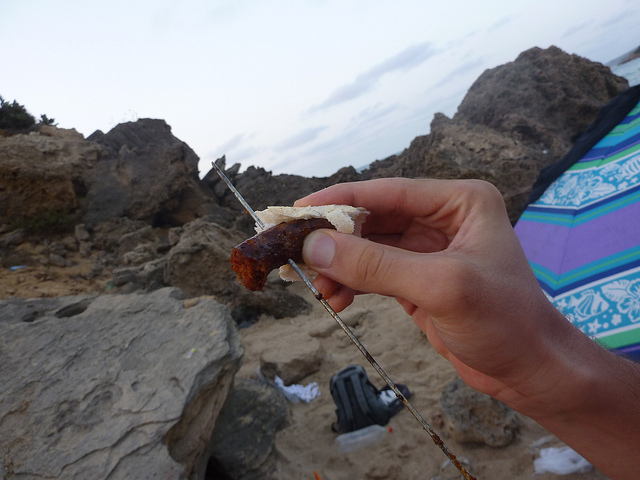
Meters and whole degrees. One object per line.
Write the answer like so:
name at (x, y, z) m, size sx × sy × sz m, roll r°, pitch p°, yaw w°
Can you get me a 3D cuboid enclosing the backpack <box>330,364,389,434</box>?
backpack at (0.511, 2.162, 5.455) m, size 0.553 × 0.277 × 0.765 m, roll -15°, pitch 56°, yaw -1°
